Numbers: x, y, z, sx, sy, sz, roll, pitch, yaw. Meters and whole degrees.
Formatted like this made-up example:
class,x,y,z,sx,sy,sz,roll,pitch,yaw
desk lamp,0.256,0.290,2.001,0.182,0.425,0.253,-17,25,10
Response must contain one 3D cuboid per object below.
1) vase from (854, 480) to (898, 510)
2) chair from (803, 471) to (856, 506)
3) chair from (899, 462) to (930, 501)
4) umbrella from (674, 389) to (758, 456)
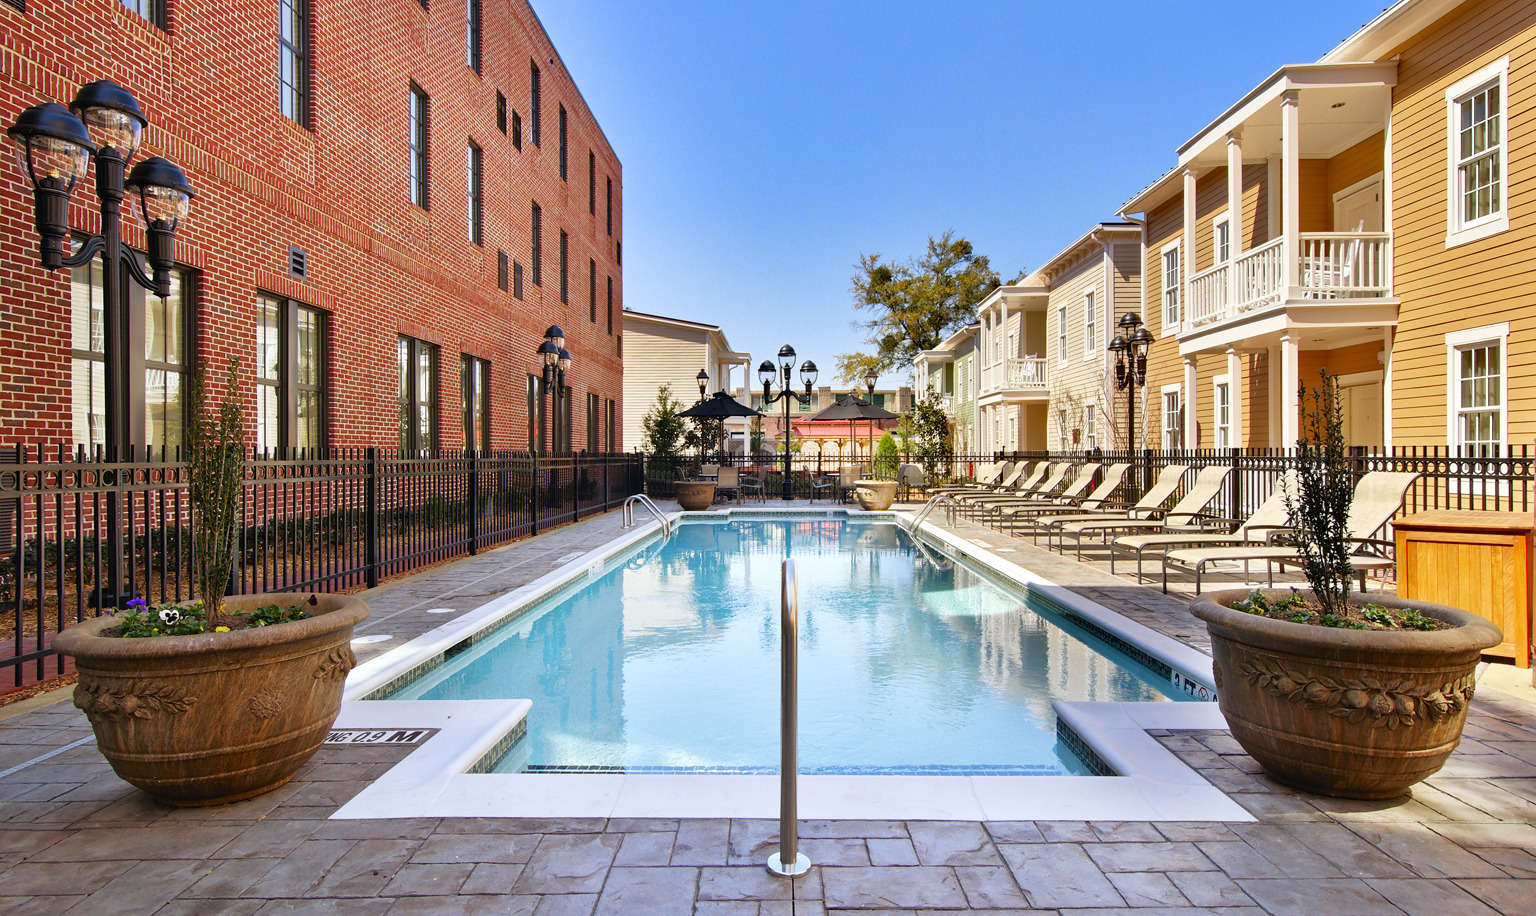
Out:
class,x,y,z,sx,sy,sz,roll,pitch,yaw
vase,2.965,1.023,25.627,0.921,0.522,0.907,-2,-2,24
chair,2.026,0.987,29.795,1.315,1.744,1.062,1,4,10
chair,4.585,0.753,28.858,1.193,1.548,1.178,1,-2,-7
umbrella,-1.412,-1.353,27.695,2.034,1.203,2.039,-4,5,-11
